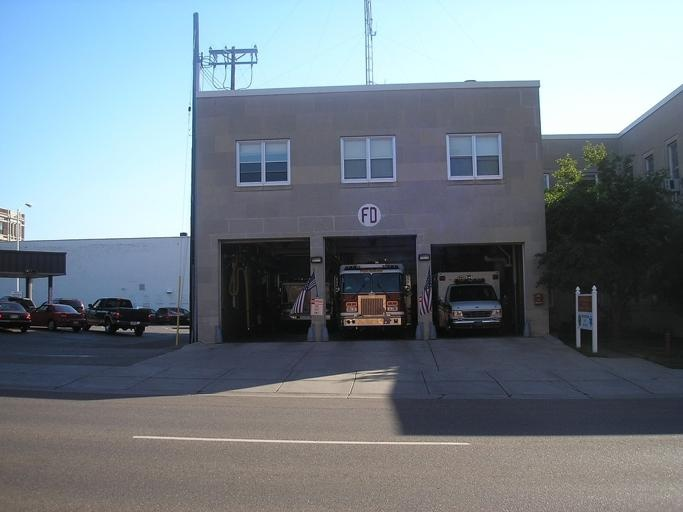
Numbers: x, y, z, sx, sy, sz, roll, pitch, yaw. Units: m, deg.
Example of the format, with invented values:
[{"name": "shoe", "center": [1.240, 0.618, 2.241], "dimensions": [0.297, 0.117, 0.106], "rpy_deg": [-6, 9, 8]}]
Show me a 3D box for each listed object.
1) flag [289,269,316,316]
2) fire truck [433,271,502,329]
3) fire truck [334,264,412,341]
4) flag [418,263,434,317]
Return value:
[{"name": "flag", "center": [-1.407, 1.347, 25.492], "dimensions": [0.855, 1.476, 1.496], "rpy_deg": [0, -4, -5]}, {"name": "fire truck", "center": [5.131, 1.993, 28.361], "dimensions": [2.313, 2.786, 5.110], "rpy_deg": [0, -7, 3]}, {"name": "fire truck", "center": [1.147, 1.738, 25.828], "dimensions": [2.394, 2.616, 4.743], "rpy_deg": [0, -3, 3]}, {"name": "flag", "center": [3.075, 1.259, 24.831], "dimensions": [0.119, 1.919, 0.485], "rpy_deg": [6, -9, -4]}]
